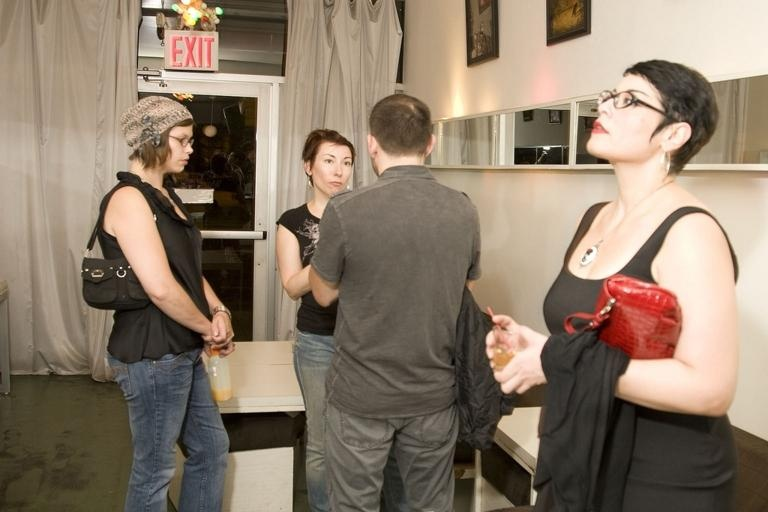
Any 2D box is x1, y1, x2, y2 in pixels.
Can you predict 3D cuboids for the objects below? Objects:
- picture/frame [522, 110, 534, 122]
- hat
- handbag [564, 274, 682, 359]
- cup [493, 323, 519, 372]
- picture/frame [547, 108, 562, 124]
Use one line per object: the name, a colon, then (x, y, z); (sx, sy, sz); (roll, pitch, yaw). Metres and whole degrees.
picture/frame: (0.807, -0.791, 2.966); (0.011, 0.078, 0.079); (-7, 7, -29)
hat: (-0.998, -0.571, 2.348); (0.288, 0.240, 0.242); (-3, 5, -17)
handbag: (0.664, 0.189, 1.500); (0.226, 0.230, 0.244); (16, 41, 6)
cup: (0.370, 0.297, 1.677); (0.068, 0.116, 0.117); (-5, 5, 5)
picture/frame: (0.884, -0.737, 2.773); (0.017, 0.070, 0.067); (-7, 11, -44)
